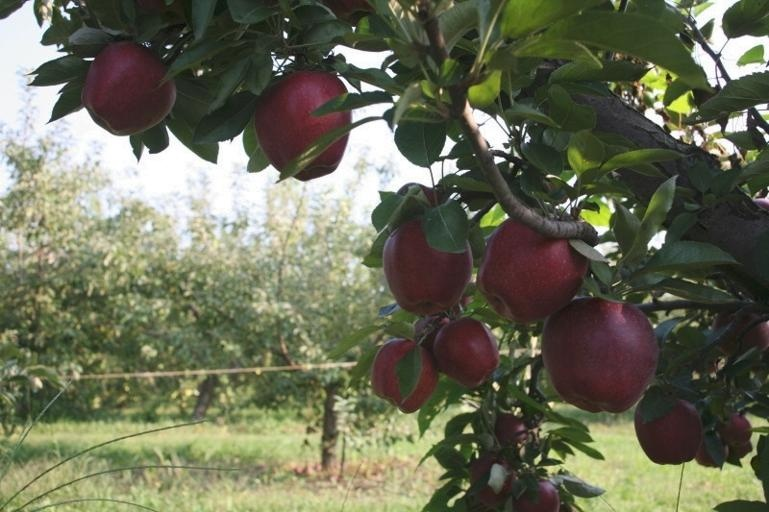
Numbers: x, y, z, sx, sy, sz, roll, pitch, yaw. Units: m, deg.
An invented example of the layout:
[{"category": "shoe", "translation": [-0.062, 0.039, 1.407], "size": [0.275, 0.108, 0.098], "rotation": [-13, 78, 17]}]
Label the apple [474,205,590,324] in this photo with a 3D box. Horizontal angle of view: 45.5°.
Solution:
[{"category": "apple", "translation": [0.673, 0.093, 4.079], "size": [0.406, 0.482, 0.407], "rotation": [6, 20, -25]}]

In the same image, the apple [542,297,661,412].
[{"category": "apple", "translation": [0.917, 0.427, 3.924], "size": [0.432, 0.507, 0.471], "rotation": [4, -18, 9]}]

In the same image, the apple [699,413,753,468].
[{"category": "apple", "translation": [1.685, 0.922, 4.574], "size": [0.262, 0.266, 0.349], "rotation": [-2, -14, 20]}]

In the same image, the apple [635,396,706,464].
[{"category": "apple", "translation": [1.339, 0.832, 4.470], "size": [0.280, 0.378, 0.292], "rotation": [-7, -8, -17]}]

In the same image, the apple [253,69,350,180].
[{"category": "apple", "translation": [-0.385, -0.633, 4.147], "size": [0.418, 0.512, 0.447], "rotation": [0, 12, -25]}]
